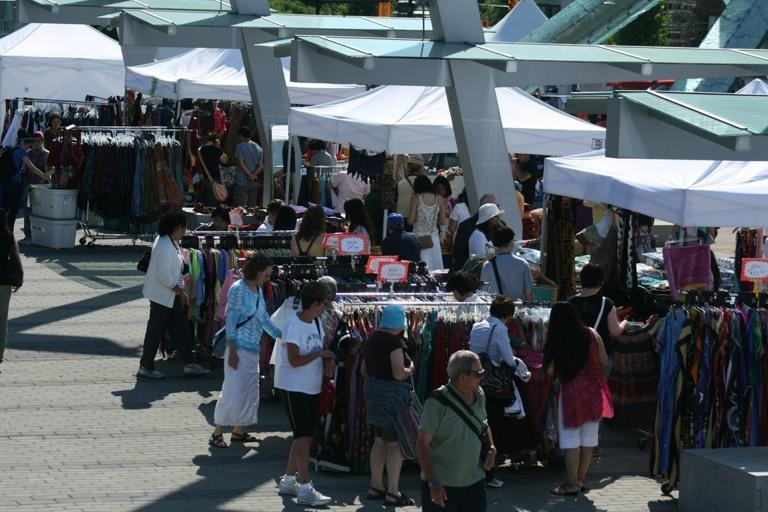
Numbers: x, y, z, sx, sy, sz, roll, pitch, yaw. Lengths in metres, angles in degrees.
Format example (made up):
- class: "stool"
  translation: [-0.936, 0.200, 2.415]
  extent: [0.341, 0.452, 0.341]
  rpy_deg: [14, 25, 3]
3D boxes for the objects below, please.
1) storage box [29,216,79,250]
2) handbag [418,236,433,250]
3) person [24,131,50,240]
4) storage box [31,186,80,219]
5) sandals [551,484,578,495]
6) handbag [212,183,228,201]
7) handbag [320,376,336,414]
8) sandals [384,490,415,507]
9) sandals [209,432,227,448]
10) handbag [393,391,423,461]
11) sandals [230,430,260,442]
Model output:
- class: "storage box"
  translation: [-6.803, -0.491, 27.441]
  extent: [0.724, 0.649, 1.077]
  rpy_deg: [-4, 10, -43]
- class: "handbag"
  translation: [0.721, -0.208, 21.953]
  extent: [0.285, 0.217, 0.068]
  rpy_deg: [-7, -7, -20]
- class: "person"
  translation: [-7.329, -1.464, 28.121]
  extent: [0.609, 2.320, 0.641]
  rpy_deg: [0, -7, 1]
- class: "storage box"
  translation: [-6.735, -1.055, 27.201]
  extent: [0.709, 0.671, 1.062]
  rpy_deg: [-5, 10, -43]
- class: "sandals"
  translation: [2.337, 3.022, 16.883]
  extent: [0.264, 0.116, 0.146]
  rpy_deg: [3, -1, 9]
- class: "handbag"
  translation: [-3.430, -1.349, 28.098]
  extent: [0.176, 0.371, 0.339]
  rpy_deg: [-11, -1, 20]
- class: "handbag"
  translation: [-0.671, 1.775, 16.797]
  extent: [0.117, 0.474, 0.263]
  rpy_deg: [4, 4, 36]
- class: "sandals"
  translation: [0.217, 3.069, 16.562]
  extent: [0.335, 0.135, 0.174]
  rpy_deg: [-1, 2, -13]
- class: "sandals"
  translation: [-2.191, 2.500, 17.688]
  extent: [0.133, 0.121, 0.301]
  rpy_deg: [1, -4, -35]
- class: "handbag"
  translation: [0.317, 2.140, 16.439]
  extent: [0.303, 0.887, 0.298]
  rpy_deg: [2, 3, 1]
- class: "sandals"
  translation: [-1.861, 2.459, 17.942]
  extent: [0.374, 0.153, 0.163]
  rpy_deg: [0, 3, -7]
